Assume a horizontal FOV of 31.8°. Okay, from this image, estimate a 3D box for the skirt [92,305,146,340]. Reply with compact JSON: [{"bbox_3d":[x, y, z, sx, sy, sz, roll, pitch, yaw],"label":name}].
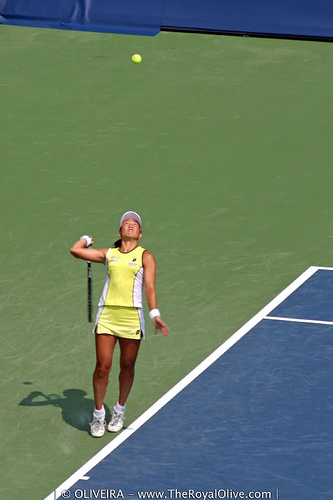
[{"bbox_3d":[-0.364,0.563,4.532,0.495,0.256,0.294,4,82,2],"label":"skirt"}]
